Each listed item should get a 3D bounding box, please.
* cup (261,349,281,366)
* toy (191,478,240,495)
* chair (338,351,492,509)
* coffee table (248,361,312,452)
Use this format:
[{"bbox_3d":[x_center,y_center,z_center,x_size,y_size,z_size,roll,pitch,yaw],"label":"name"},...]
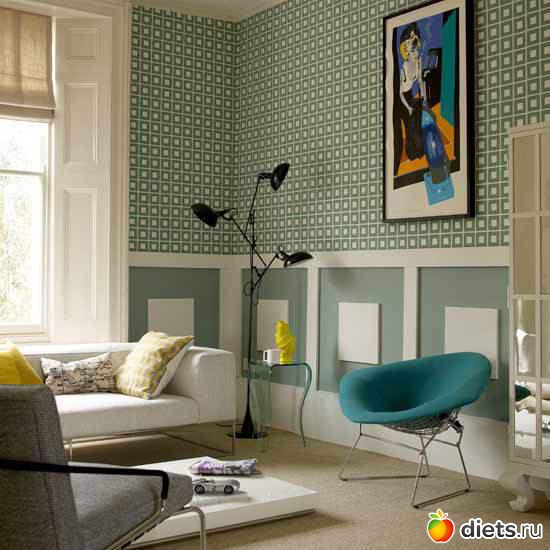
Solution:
[{"bbox_3d":[-0.033,0.679,4.552,0.141,0.115,0.207,1,-4,2],"label":"cup"},{"bbox_3d":[-0.307,1.058,2.787,0.230,0.088,0.130,2,-10,-3],"label":"toy"},{"bbox_3d":[0.788,0.747,3.402,0.803,0.947,0.901,4,-7,-31],"label":"chair"},{"bbox_3d":[0.028,1.085,4.831,0.638,0.886,0.630,3,-8,-32],"label":"coffee table"}]
